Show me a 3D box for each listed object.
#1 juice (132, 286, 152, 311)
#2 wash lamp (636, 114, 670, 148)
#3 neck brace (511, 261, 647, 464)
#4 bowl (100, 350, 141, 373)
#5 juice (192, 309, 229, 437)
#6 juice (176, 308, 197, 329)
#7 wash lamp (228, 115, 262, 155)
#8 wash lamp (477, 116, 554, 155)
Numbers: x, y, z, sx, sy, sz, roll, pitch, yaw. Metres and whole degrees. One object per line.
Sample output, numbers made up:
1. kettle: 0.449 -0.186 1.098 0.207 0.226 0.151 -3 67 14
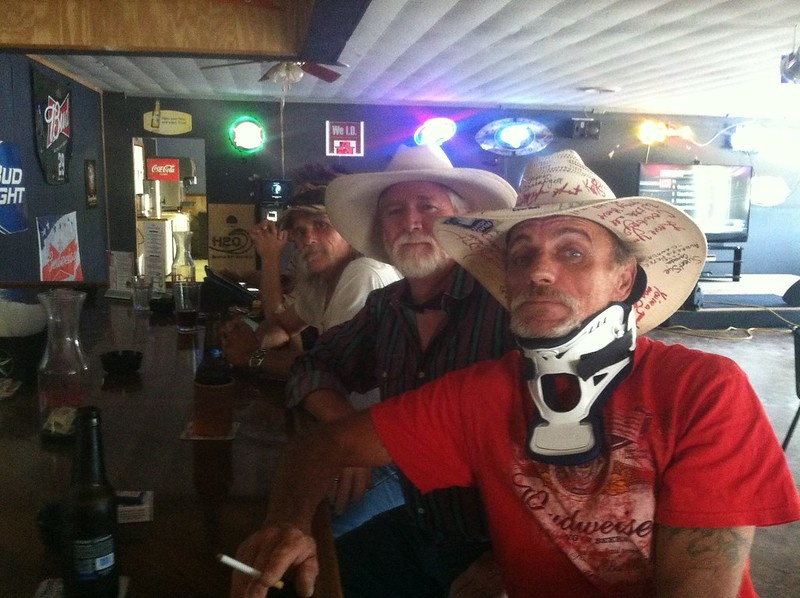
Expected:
1. juice: -1.260 0.001 3.351 0.129 0.133 0.119 0 -1 -15
2. wash lamp: 3.395 -2.212 8.951 0.536 0.349 0.283 -11 12 -42
3. neck brace: 0.405 0.162 1.482 0.224 0.369 0.182 0 -11 34
4. bowl: -0.930 0.202 2.242 0.099 0.042 0.095 3 1 0
5. juice: -0.528 0.234 1.876 0.112 0.296 0.115 -2 -3 42
6. juice: -0.903 0.083 2.859 0.089 0.087 0.081 -1 -3 1
7. wash lamp: -1.759 -1.885 7.747 0.410 0.407 0.179 -5 10 -16
8. wash lamp: 1.420 -2.030 8.381 1.035 0.427 0.385 -2 13 -21
